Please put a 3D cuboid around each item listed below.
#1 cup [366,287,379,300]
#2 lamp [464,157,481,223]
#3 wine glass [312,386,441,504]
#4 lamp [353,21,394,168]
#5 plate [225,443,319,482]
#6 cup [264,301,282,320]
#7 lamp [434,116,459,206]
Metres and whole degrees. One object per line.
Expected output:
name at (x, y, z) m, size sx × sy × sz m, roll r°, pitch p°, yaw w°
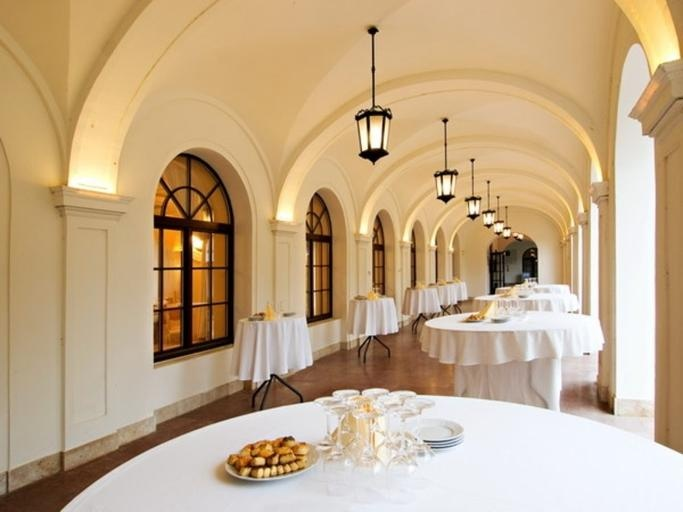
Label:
cup at (0.542, 0.683, 8.639) m, size 0.104 × 0.161 × 0.373 m, roll 0°, pitch -7°, yaw 10°
lamp at (2.628, -1.359, 9.881) m, size 0.285 × 1.334 × 0.314 m, roll -2°, pitch -16°, yaw 17°
wine glass at (0.154, 0.832, 2.310) m, size 0.346 × 0.276 × 0.452 m, roll -1°, pitch -4°, yaw 10°
lamp at (0.348, -1.783, 5.605) m, size 0.383 × 1.520 × 1.259 m, roll -2°, pitch 4°, yaw 2°
plate at (-0.321, 0.971, 2.281) m, size 0.444 × 0.085 × 0.159 m, roll -3°, pitch 4°, yaw -11°
cup at (-0.876, 0.683, 6.234) m, size 0.145 × 0.198 × 0.158 m, roll 1°, pitch -10°, yaw 0°
lamp at (1.559, -1.478, 7.453) m, size 0.301 × 1.387 × 0.326 m, roll -2°, pitch -15°, yaw 17°
